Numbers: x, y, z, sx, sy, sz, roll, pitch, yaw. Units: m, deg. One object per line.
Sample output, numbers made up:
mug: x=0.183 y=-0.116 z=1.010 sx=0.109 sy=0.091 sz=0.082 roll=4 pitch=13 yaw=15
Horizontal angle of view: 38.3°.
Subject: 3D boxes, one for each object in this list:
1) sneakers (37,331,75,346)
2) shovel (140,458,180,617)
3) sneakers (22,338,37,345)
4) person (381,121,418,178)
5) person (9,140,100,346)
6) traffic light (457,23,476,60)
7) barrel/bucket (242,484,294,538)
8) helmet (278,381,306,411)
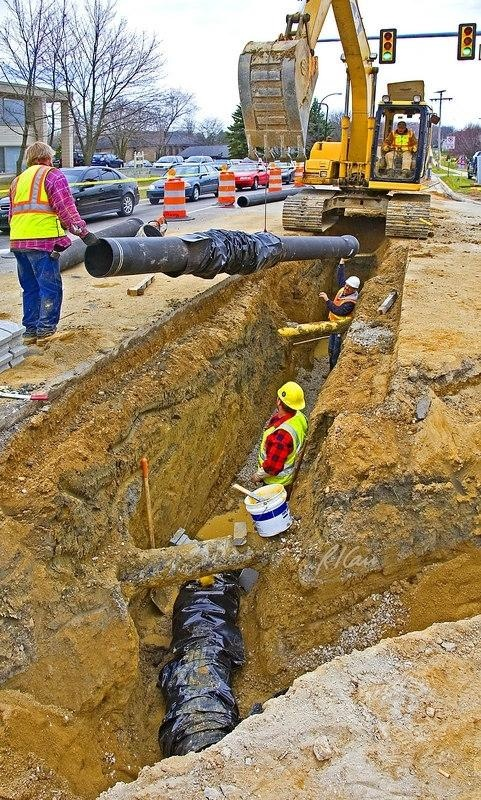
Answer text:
sneakers: x=-1.519 y=-0.512 z=5.641 sx=0.140 sy=0.059 sz=0.267 roll=1 pitch=7 yaw=19
shovel: x=-0.713 y=1.073 z=5.380 sx=0.276 sy=1.259 sz=0.197 roll=-3 pitch=7 yaw=38
sneakers: x=-1.742 y=-0.492 z=5.724 sx=0.045 sy=0.059 sz=0.140 roll=5 pitch=14 yaw=13
person: x=2.611 y=-4.094 z=11.364 sx=0.498 sy=1.041 sz=0.595 roll=3 pitch=3 yaw=25
person: x=-1.553 y=-1.249 z=5.566 sx=0.542 sy=1.600 sz=0.739 roll=-3 pitch=14 yaw=-21
traffic light: x=4.858 y=-7.693 z=14.889 sx=0.379 sy=0.703 sz=0.498 roll=6 pitch=13 yaw=14
barrel/bucket: x=0.204 y=0.762 z=4.842 sx=0.347 sy=0.284 sz=0.359 roll=-18 pitch=16 yaw=5
helmet: x=0.406 y=-0.029 z=5.603 sx=0.200 sy=0.243 sz=0.227 roll=4 pitch=13 yaw=7
